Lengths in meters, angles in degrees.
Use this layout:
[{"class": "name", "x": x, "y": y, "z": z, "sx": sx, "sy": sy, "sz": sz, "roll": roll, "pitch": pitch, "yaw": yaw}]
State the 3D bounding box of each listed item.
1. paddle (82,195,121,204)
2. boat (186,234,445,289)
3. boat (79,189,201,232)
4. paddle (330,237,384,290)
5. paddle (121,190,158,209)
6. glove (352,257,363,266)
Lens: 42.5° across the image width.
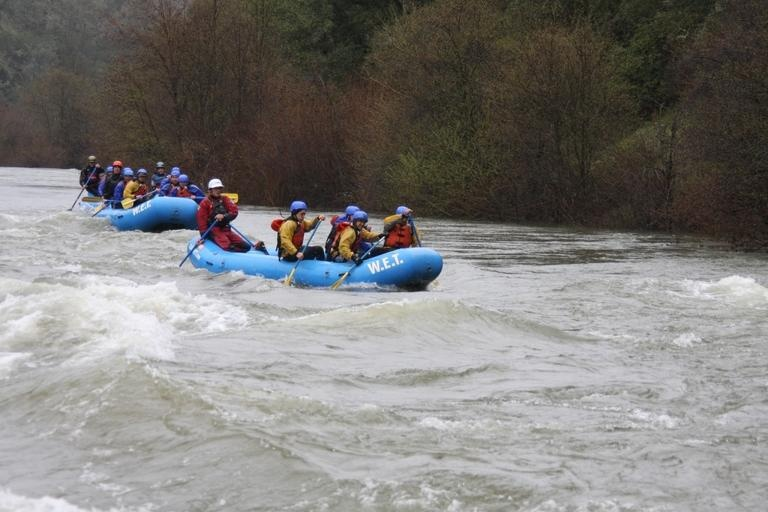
[{"class": "paddle", "x": -9.339, "y": -1.797, "z": 31.656, "sx": 1.577, "sy": 0.327, "sz": 0.248, "roll": 5, "pitch": -7, "yaw": 36}, {"class": "boat", "x": -1.591, "y": 0.256, "z": 21.892, "sx": 5.606, "sy": 0.842, "sz": 1.745, "roll": 2, "pitch": -3, "yaw": 15}, {"class": "boat", "x": -7.101, "y": -1.179, "z": 28.519, "sx": 1.535, "sy": 0.677, "sz": 3.233, "roll": 9, "pitch": -3, "yaw": -31}, {"class": "paddle", "x": -0.636, "y": 0.214, "z": 21.354, "sx": 1.809, "sy": 0.204, "sz": 0.123, "roll": -40, "pitch": 13, "yaw": -26}, {"class": "paddle", "x": -7.110, "y": -1.644, "z": 28.626, "sx": 0.206, "sy": 0.431, "sz": 1.631, "roll": -3, "pitch": -7, "yaw": -34}, {"class": "glove", "x": -0.578, "y": 0.123, "z": 21.262, "sx": 0.187, "sy": 0.187, "sz": 0.110, "roll": 4, "pitch": 10, "yaw": 9}]
